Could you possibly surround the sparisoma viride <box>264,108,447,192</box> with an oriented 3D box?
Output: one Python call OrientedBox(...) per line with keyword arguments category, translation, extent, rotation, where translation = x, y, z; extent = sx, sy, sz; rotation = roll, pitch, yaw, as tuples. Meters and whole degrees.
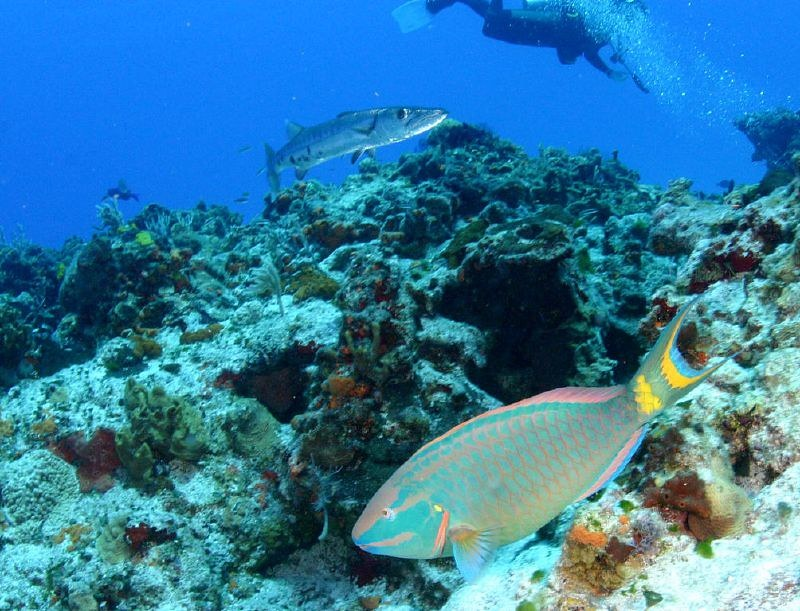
OrientedBox(category="sparisoma viride", translation=(-0.849, -2.667, 11.961), extent=(3.275, 0.916, 0.452), rotation=(-14, 17, 34))
